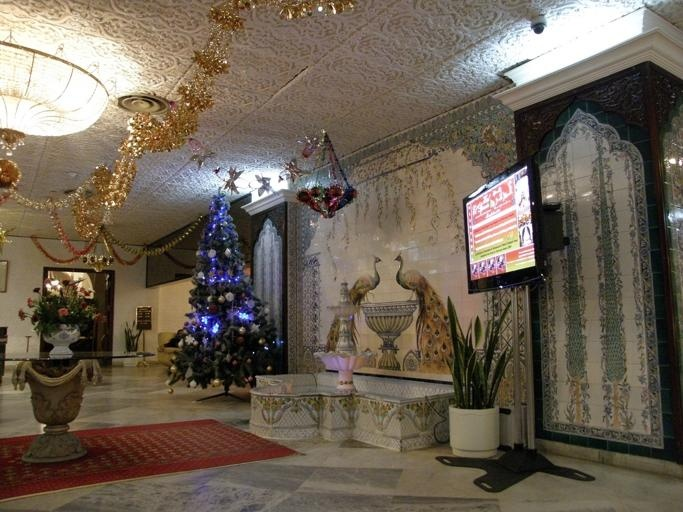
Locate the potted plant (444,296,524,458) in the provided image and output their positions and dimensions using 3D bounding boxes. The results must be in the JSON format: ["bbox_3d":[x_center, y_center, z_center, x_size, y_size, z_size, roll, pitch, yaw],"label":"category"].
[{"bbox_3d":[1.249,1.050,4.178,0.579,1.331,0.802,-3,-11,19],"label":"potted plant"}]

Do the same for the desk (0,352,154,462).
[{"bbox_3d":[-2.358,1.250,4.240,1.065,0.590,1.091,6,-13,-29],"label":"desk"}]

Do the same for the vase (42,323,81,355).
[{"bbox_3d":[-3.203,0.926,5.325,0.345,0.310,0.871,7,-12,-30],"label":"vase"}]

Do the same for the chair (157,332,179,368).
[{"bbox_3d":[-4.771,2.531,12.656,0.443,0.942,2.293,5,-11,-21],"label":"chair"}]

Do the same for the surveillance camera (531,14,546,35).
[{"bbox_3d":[1.620,-1.897,3.822,0.099,0.098,0.102,0,3,29],"label":"surveillance camera"}]
